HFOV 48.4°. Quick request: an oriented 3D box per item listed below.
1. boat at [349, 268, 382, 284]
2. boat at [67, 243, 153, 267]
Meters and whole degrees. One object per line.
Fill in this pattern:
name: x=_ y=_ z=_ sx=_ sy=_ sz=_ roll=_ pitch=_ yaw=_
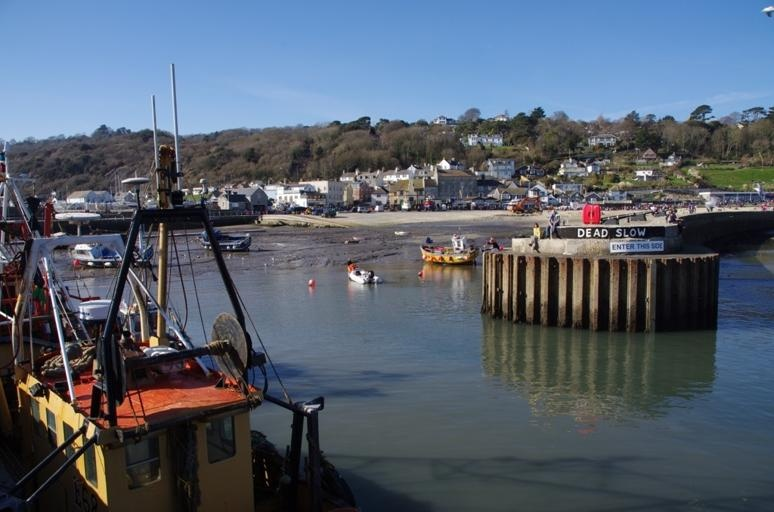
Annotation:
boat: x=-1.685 y=1.321 z=56.370 sx=1.019 sy=0.607 sz=1.717 roll=-4 pitch=6 yaw=-26
boat: x=-15.988 y=-0.031 z=49.252 sx=4.032 sy=1.413 sz=1.523 roll=3 pitch=6 yaw=11
